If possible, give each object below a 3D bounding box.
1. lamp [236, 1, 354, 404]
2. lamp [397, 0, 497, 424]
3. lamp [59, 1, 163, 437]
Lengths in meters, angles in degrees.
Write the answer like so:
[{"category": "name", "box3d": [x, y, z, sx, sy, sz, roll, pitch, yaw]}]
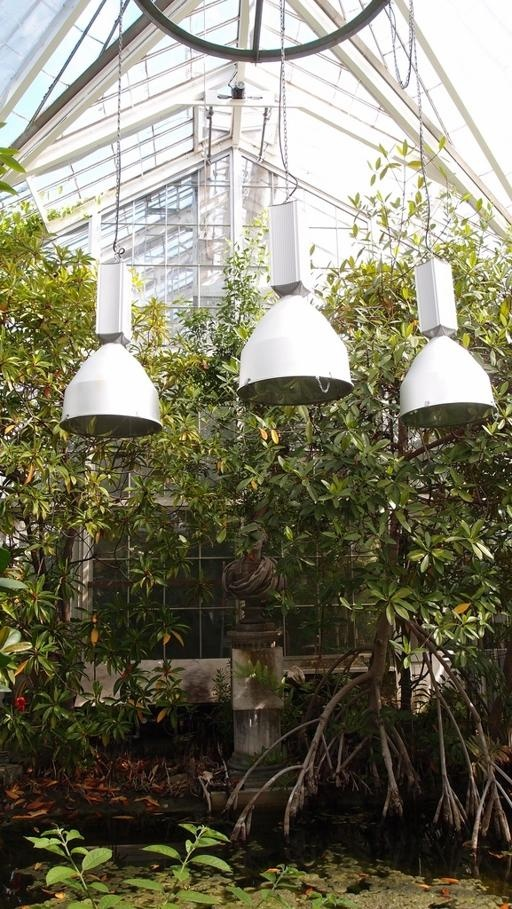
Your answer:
[{"category": "lamp", "box3d": [0.093, -0.603, 1.894, 0.285, 0.945, 0.439, -1, -10, 7]}, {"category": "lamp", "box3d": [0.555, -0.689, 2.218, 0.261, 1.191, 0.459, -2, -10, 11]}, {"category": "lamp", "box3d": [-0.422, -0.833, 2.274, 0.288, 1.579, 0.578, 2, -10, -11]}]
